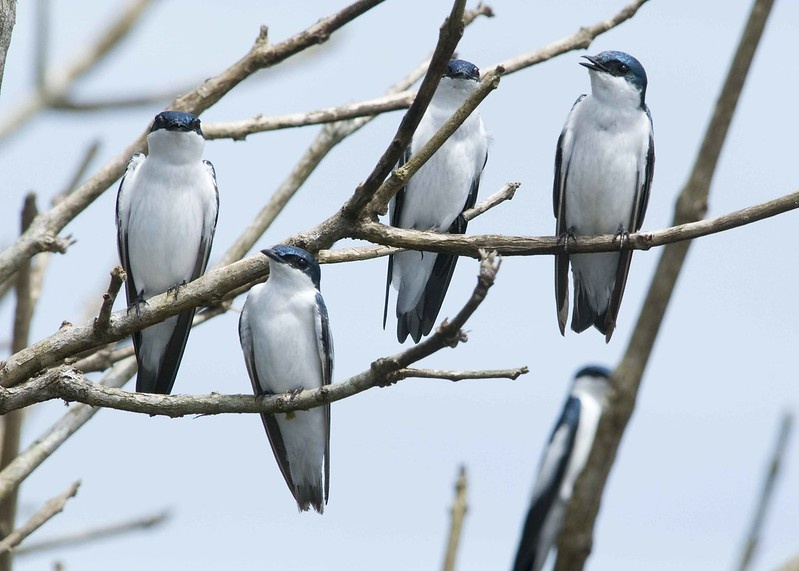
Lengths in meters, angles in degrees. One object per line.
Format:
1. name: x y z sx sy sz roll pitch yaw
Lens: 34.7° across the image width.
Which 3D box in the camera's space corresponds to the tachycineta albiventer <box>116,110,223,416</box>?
1. tachycineta albiventer: -1.534 -0.157 8.334 0.562 0.799 1.894 4 -67 -7
